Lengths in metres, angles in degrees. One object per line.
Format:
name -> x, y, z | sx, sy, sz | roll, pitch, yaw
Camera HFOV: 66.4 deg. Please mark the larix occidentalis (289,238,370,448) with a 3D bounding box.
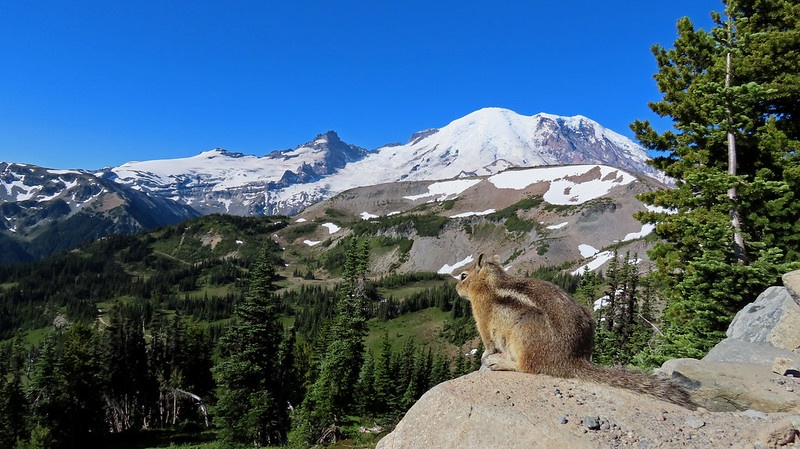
larix occidentalis -> -17.634, 31.472, 164.726 | 20.505, 52.565, 18.395 | -4, -19, 8
